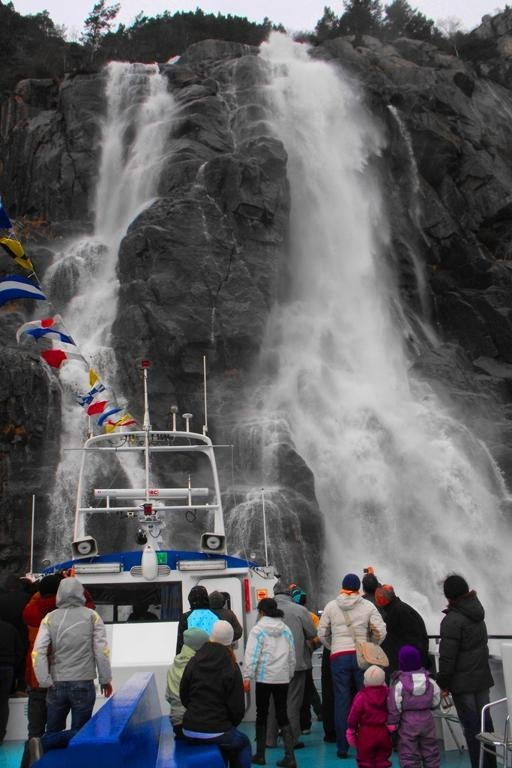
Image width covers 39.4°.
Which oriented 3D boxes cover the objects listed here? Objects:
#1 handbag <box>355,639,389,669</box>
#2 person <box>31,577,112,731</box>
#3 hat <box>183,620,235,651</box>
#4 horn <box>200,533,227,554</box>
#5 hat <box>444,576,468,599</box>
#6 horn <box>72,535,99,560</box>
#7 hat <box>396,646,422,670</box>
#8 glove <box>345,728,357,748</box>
[{"bbox_3d":[1.105,2.618,6.907,0.280,0.248,0.280,1,-7,5],"label":"handbag"},{"bbox_3d":[-1.498,2.445,5.970,0.639,1.578,0.538,0,-8,-8],"label":"person"},{"bbox_3d":[-0.369,1.947,5.523,0.401,0.192,0.245,-1,-6,4],"label":"hat"},{"bbox_3d":[-0.623,2.349,10.624,0.400,0.308,0.456,-4,-11,-3],"label":"horn"},{"bbox_3d":[1.815,1.866,6.545,0.216,0.216,0.268,0,-7,14],"label":"hat"},{"bbox_3d":[-2.426,2.299,10.229,0.445,0.348,0.337,-1,4,-9],"label":"horn"},{"bbox_3d":[1.232,2.221,5.865,0.196,0.202,0.210,-8,-6,-2],"label":"hat"},{"bbox_3d":[0.771,2.862,5.805,0.067,0.171,0.197,0,-7,9],"label":"glove"}]
